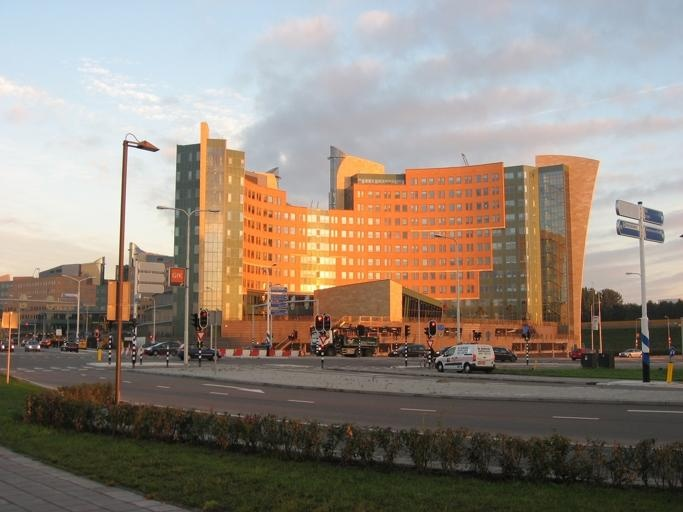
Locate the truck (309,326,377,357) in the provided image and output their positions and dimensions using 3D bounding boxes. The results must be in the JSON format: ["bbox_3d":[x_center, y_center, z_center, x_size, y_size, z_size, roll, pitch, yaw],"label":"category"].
[{"bbox_3d":[0.329,7.760,88.005,6.734,3.721,4.152,6,-12,-22],"label":"truck"}]

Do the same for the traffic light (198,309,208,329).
[{"bbox_3d":[-8.313,3.821,53.472,0.629,1.304,0.298,2,-3,-7],"label":"traffic light"}]

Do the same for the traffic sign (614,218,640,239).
[{"bbox_3d":[13.532,-1.222,41.471,0.537,0.936,2.260,-8,-14,36],"label":"traffic sign"}]

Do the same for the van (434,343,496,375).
[{"bbox_3d":[7.453,6.065,52.504,1.600,1.948,4.064,6,-13,-29],"label":"van"}]

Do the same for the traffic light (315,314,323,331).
[{"bbox_3d":[-1.268,3.936,52.497,0.441,0.878,1.018,0,-11,-2],"label":"traffic light"}]
